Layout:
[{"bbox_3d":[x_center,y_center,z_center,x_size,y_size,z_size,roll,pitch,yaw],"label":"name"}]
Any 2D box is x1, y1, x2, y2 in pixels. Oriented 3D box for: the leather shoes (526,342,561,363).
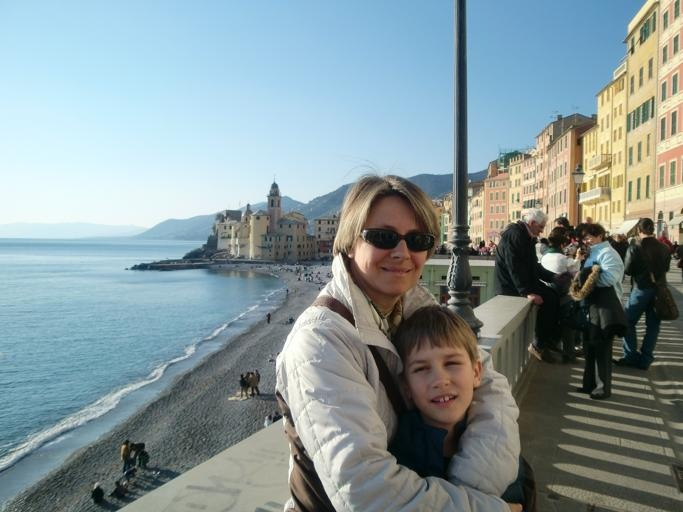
[{"bbox_3d":[2.948,1.387,6.923,0.459,0.182,0.207,17,37,5],"label":"leather shoes"}]
